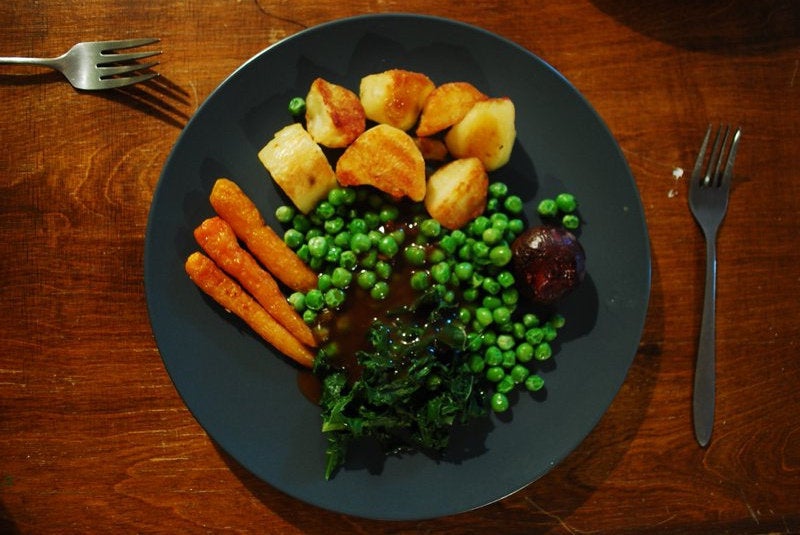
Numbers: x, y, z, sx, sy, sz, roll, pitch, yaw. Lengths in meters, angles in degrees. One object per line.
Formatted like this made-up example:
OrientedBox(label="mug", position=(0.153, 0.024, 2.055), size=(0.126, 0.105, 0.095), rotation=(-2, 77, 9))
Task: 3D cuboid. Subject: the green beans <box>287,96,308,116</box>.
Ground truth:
OrientedBox(label="green beans", position=(-0.713, -1.112, 5.602), size=(0.117, 0.109, 0.121), rotation=(24, 94, 9))
